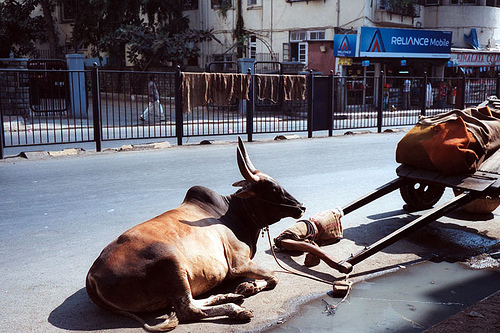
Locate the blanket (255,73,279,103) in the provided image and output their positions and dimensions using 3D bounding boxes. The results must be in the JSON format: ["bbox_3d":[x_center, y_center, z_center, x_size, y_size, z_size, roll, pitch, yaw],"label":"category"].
[{"bbox_3d":[0.649,-2.868,18.043,1.030,0.952,0.140,9,7,34],"label":"blanket"}]

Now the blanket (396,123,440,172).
[{"bbox_3d":[2.718,-0.286,8.266,0.475,0.829,0.717,-1,-6,-2],"label":"blanket"}]

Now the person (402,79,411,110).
[{"bbox_3d":[6.937,-3.205,22.056,0.339,1.246,0.718,1,7,19],"label":"person"}]

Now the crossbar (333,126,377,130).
[{"bbox_3d":[4.332,-1.627,20.556,2.670,0.086,0.661,-7,9,-41],"label":"crossbar"}]

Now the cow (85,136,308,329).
[{"bbox_3d":[-0.674,0.775,6.127,2.420,2.171,1.019,-5,8,-32],"label":"cow"}]

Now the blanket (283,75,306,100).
[{"bbox_3d":[1.624,-2.987,18.664,0.988,0.977,0.110,0,-11,4],"label":"blanket"}]
